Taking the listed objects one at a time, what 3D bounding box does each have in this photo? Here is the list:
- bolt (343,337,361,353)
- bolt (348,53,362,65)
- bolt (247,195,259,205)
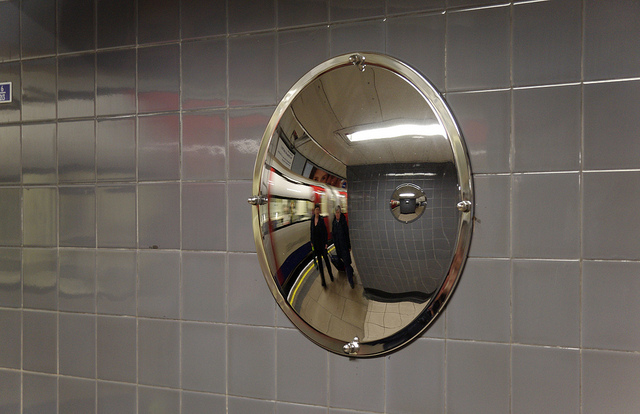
[{"bbox_3d":[0.130,0.553,2.642,0.046,0.031,0.066,4,5,-1],"label":"bolt"},{"bbox_3d":[0.136,-0.598,2.650,0.051,0.041,0.007,4,-6,7],"label":"bolt"},{"bbox_3d":[-0.278,-0.030,2.723,0.036,0.039,0.037,4,-5,-39],"label":"bolt"}]
